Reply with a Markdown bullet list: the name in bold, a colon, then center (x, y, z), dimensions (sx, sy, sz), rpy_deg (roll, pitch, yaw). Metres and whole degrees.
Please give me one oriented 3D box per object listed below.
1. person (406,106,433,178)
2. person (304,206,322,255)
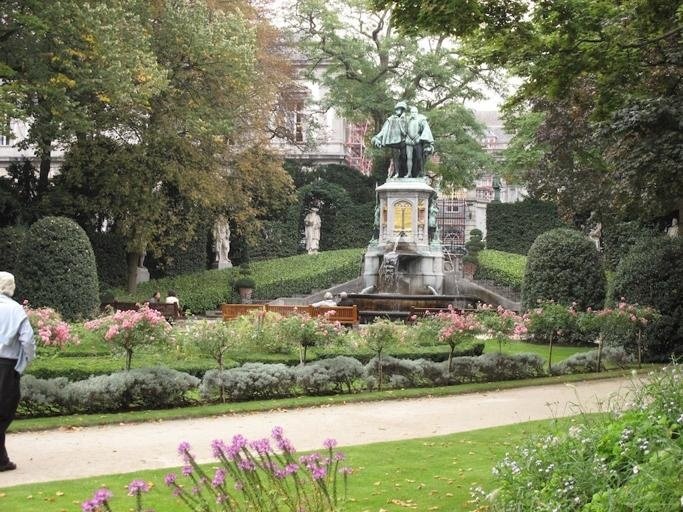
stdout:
- **person**: center (2.625, -3.826, 37.993), dimensions (1.119, 2.384, 0.689), rpy_deg (1, 0, -38)
- **person**: center (-1.377, -1.197, 51.981), dimensions (0.708, 2.103, 1.034), rpy_deg (1, 0, -4)
